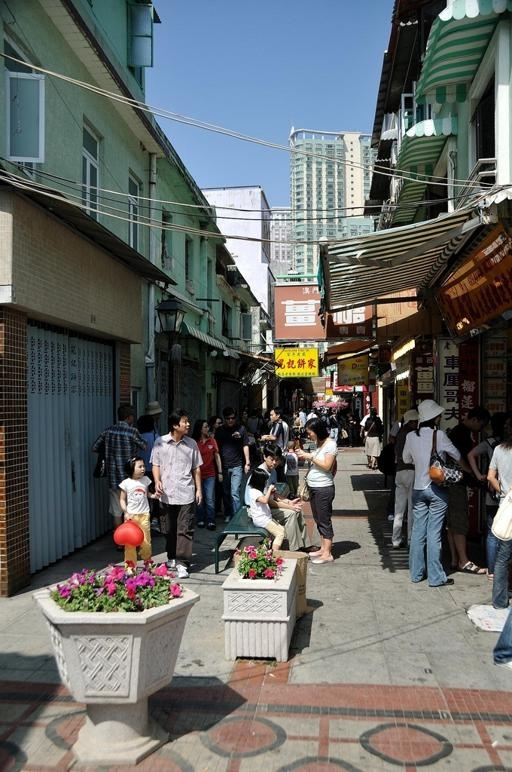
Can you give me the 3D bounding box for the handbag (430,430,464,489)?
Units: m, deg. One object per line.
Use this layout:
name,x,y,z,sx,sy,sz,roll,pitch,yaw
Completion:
handbag,1.764,0.698,5.955,0.211,0.568,0.399,-24,-30,35

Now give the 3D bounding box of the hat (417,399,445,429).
hat,1.713,0.249,6.296,0.219,0.146,0.256,-31,-2,24

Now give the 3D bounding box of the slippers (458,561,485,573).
slippers,2.148,1.787,6.359,0.196,0.090,0.113,-2,-3,19

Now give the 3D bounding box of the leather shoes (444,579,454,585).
leather shoes,1.794,1.829,5.966,0.047,0.061,0.133,-7,-18,38

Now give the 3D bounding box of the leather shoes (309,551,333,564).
leather shoes,0.697,1.836,6.889,0.288,0.144,0.098,5,-6,-2

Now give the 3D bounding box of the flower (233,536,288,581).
flower,0.025,1.206,4.403,0.252,0.249,0.278,5,1,5

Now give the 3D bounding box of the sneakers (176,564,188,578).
sneakers,-0.699,1.743,6.038,0.080,0.098,0.214,2,-15,-6

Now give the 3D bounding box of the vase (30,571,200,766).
vase,-0.597,1.170,2.961,0.685,0.758,0.842,-7,-6,41

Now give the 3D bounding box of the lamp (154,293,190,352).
lamp,-1.409,-1.084,10.587,0.417,0.988,0.989,1,-2,-9

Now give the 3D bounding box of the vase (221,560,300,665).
vase,0.047,1.446,4.444,0.416,0.516,0.800,-1,10,10

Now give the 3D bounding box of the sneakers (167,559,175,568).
sneakers,-0.858,1.803,6.478,0.094,0.055,0.143,2,-5,0

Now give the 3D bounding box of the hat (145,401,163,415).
hat,-1.458,0.314,9.166,0.198,0.128,0.224,1,-1,-5
